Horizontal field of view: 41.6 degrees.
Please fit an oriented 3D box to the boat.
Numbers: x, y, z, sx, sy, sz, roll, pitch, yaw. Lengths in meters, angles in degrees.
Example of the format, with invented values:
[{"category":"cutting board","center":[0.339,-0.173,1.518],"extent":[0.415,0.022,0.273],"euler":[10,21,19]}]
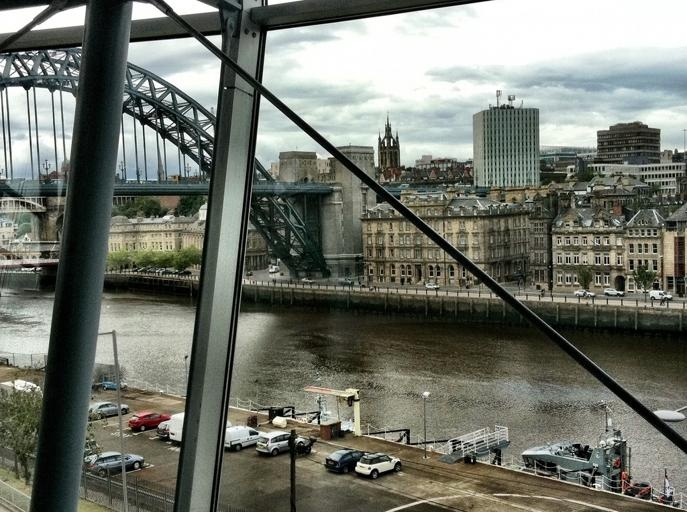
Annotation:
[{"category":"boat","center":[2.985,2.532,11.391],"extent":[0.658,1.116,1.632],"euler":[3,6,-18]}]
